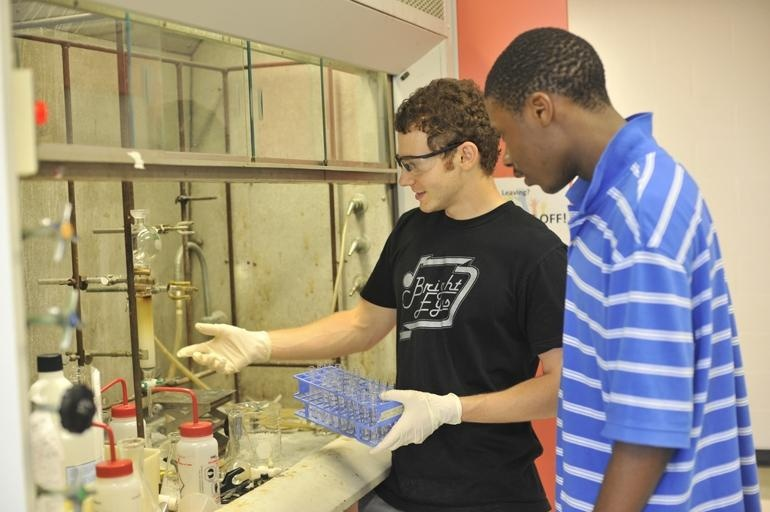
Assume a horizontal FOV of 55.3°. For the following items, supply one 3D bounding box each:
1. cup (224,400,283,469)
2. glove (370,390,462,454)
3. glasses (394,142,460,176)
[{"bbox_3d":[-0.493,0.696,2.862,0.225,0.222,0.183,0,0,-31],"label":"cup"},{"bbox_3d":[0.104,0.539,2.420,0.296,0.187,0.103,-1,1,0],"label":"glove"},{"bbox_3d":[0.144,-0.354,2.591,0.140,0.041,0.134,-23,9,-17],"label":"glasses"}]
